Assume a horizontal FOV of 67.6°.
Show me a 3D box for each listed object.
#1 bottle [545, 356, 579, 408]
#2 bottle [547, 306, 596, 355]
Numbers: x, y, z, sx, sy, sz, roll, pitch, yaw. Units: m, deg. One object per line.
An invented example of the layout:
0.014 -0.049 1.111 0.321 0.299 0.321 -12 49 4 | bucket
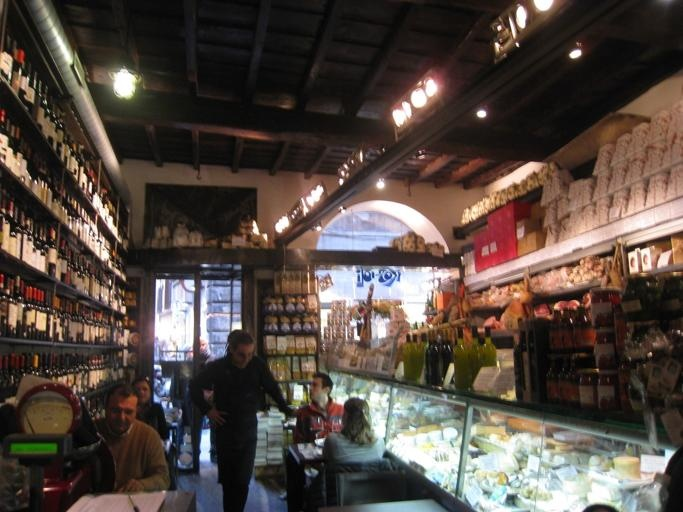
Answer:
0.994 0.553 2.297 0.055 0.204 0.180 2 -12 -11 | bottle
1.027 0.345 2.368 0.169 0.226 0.202 1 -16 -3 | bottle
